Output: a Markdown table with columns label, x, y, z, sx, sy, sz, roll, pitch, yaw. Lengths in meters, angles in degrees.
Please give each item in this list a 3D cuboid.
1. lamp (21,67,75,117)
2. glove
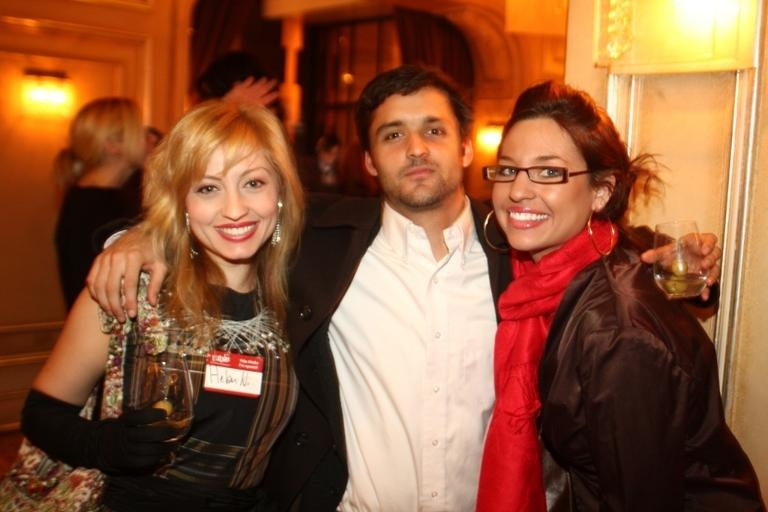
| label | x | y | z | sx | sy | sz | roll | pitch | yaw |
| --- | --- | --- | --- | --- | --- | --- | --- | --- | --- |
| lamp | -2.940 | -1.439 | 5.048 | 0.411 | 0.382 | 0.229 | -8 | 46 | -38 |
| glove | -1.194 | 0.738 | 2.398 | 0.719 | 0.319 | 0.139 | 2 | 5 | 15 |
